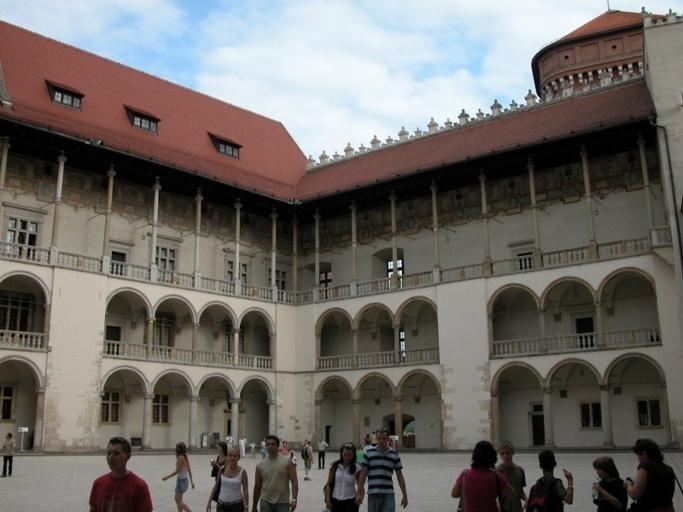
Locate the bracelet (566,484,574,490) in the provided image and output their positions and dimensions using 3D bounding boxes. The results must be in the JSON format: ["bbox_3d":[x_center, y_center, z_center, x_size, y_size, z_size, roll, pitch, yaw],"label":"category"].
[{"bbox_3d":[2.830,2.881,9.288,0.095,0.101,0.068,-9,-18,32],"label":"bracelet"}]

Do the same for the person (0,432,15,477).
[{"bbox_3d":[-8.585,5.121,19.232,0.285,1.101,1.258,6,-18,-22],"label":"person"}]
